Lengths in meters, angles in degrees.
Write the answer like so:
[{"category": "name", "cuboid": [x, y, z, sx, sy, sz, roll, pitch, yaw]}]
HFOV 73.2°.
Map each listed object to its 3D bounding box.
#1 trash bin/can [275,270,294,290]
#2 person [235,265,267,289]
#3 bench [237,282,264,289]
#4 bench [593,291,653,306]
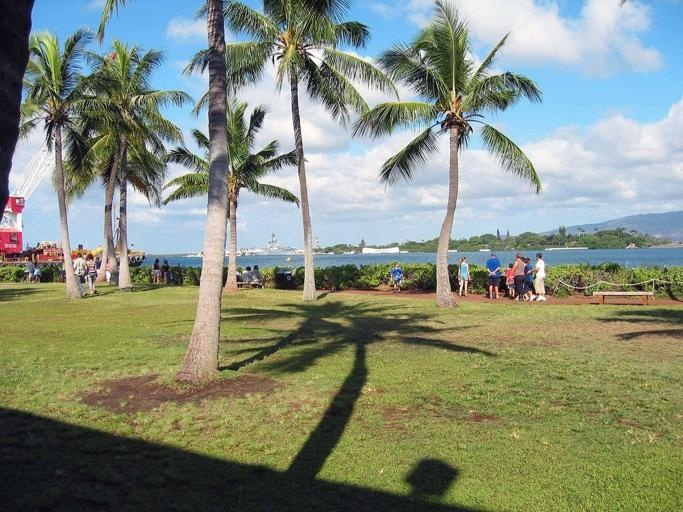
[{"category": "trash bin/can", "cuboid": [-3.800, 1.528, 30.834, 1.159, 1.309, 1.002, 0, -3, -16]}, {"category": "person", "cuboid": [-6.316, 1.485, 31.835, 1.495, 0.900, 1.947, 0, 3, -9]}, {"category": "bench", "cuboid": [-6.268, 1.964, 31.083, 1.129, 0.367, 1.780, -3, -4, 29]}, {"category": "bench", "cuboid": [12.983, 1.923, 21.450, 2.102, 0.570, 3.075, -3, -4, 25]}]
